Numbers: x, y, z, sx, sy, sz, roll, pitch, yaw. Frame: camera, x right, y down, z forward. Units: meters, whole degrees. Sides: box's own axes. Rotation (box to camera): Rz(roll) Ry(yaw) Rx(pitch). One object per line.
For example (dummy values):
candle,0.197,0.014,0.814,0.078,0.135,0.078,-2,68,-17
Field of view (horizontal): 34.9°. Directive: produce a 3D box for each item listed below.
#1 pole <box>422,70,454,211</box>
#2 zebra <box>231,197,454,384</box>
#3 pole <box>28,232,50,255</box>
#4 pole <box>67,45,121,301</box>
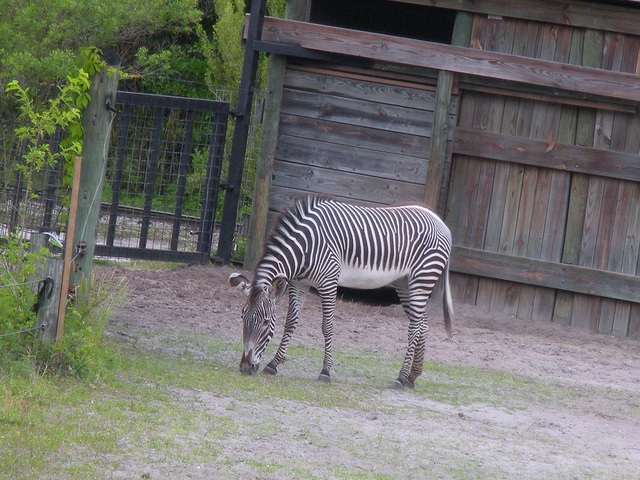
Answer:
pole,1.581,-1.325,13.663,0.209,1.797,0.500,7,12,6
zebra,0.284,0.556,11.103,2.526,1.800,0.988,0,14,-26
pole,-2.742,0.030,9.833,0.186,0.232,0.187,7,-1,-31
pole,-2.270,-0.668,10.129,0.309,2.379,0.799,5,12,-4
